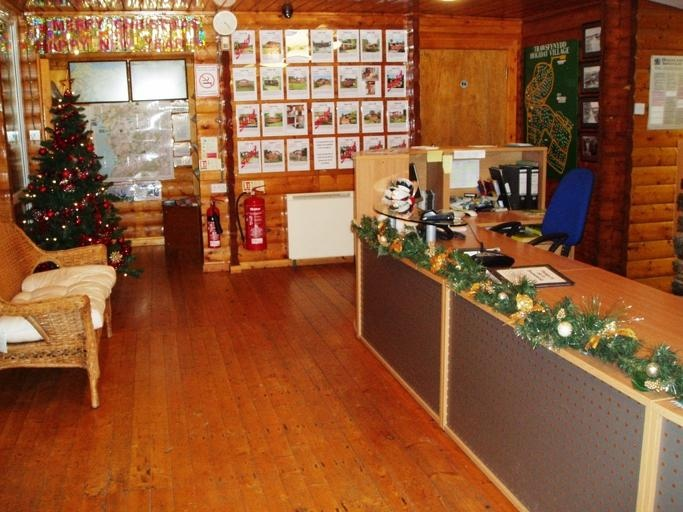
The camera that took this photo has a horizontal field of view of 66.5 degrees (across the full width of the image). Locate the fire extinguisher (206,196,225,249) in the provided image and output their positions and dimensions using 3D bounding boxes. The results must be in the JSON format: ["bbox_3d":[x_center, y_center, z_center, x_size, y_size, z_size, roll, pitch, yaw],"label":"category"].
[{"bbox_3d":[-1.710,-0.412,6.961,0.227,0.663,0.208,-7,14,-9],"label":"fire extinguisher"}]

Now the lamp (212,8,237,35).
[{"bbox_3d":[-1.430,-2.864,6.382,0.299,0.301,0.214,-7,14,-11],"label":"lamp"}]

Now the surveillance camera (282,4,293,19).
[{"bbox_3d":[-0.642,-2.890,6.167,0.164,0.161,0.166,-3,27,-7],"label":"surveillance camera"}]

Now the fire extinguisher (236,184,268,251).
[{"bbox_3d":[-1.194,-0.466,6.962,0.410,0.865,0.263,-7,14,-8],"label":"fire extinguisher"}]
